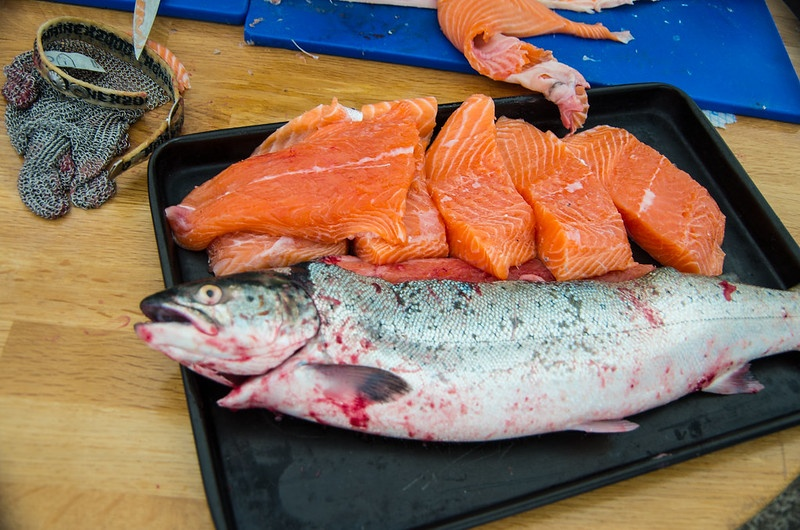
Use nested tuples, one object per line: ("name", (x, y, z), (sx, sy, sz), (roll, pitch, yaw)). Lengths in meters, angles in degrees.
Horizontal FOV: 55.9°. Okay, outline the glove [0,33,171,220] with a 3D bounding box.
("glove", (-1.649, -0.647, 3.901), (0.912, 0.167, 0.919), (15, 63, -4))
